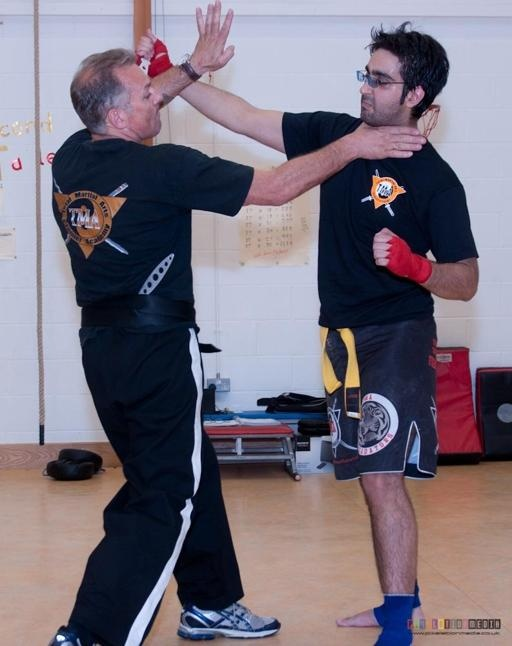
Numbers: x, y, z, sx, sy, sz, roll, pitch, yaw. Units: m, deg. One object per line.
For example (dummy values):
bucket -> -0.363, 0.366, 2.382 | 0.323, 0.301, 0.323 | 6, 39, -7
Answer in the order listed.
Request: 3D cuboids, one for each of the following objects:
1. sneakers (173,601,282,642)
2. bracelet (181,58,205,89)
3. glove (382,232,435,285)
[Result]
sneakers -> -0.088, 0.867, 2.089 | 0.312, 0.116, 0.110 | 0, -5, -7
bracelet -> -0.198, -0.751, 2.107 | 0.045, 0.068, 0.070 | -37, 2, 4
glove -> 0.405, -0.174, 1.873 | 0.142, 0.103, 0.060 | 34, -27, -25
